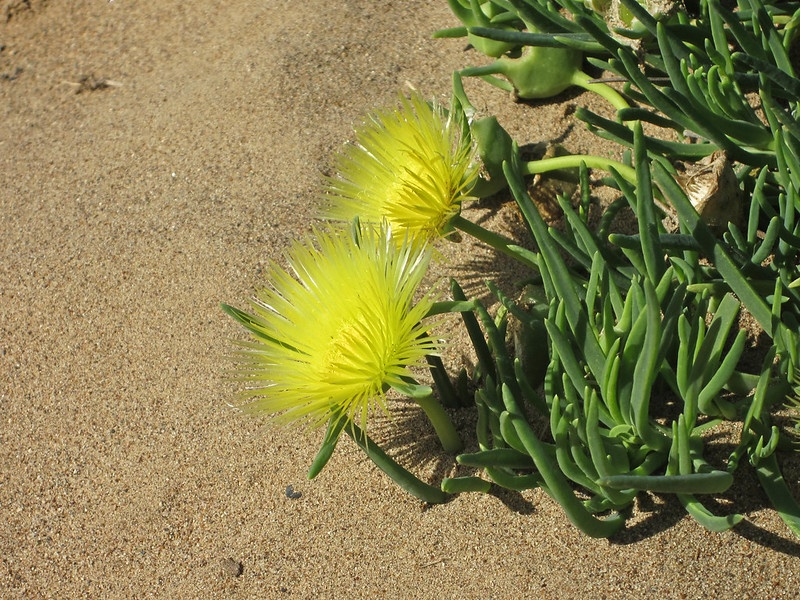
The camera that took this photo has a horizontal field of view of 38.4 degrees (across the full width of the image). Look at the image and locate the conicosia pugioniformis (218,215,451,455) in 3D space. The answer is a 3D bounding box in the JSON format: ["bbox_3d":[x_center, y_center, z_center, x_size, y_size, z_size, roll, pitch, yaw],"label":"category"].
[{"bbox_3d":[-0.145,0.020,2.175,0.406,0.404,0.372,-19,16,-31],"label":"conicosia pugioniformis"}]

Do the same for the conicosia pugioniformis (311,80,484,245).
[{"bbox_3d":[0.004,-0.248,2.214,0.152,0.294,0.301,31,89,-10],"label":"conicosia pugioniformis"}]
